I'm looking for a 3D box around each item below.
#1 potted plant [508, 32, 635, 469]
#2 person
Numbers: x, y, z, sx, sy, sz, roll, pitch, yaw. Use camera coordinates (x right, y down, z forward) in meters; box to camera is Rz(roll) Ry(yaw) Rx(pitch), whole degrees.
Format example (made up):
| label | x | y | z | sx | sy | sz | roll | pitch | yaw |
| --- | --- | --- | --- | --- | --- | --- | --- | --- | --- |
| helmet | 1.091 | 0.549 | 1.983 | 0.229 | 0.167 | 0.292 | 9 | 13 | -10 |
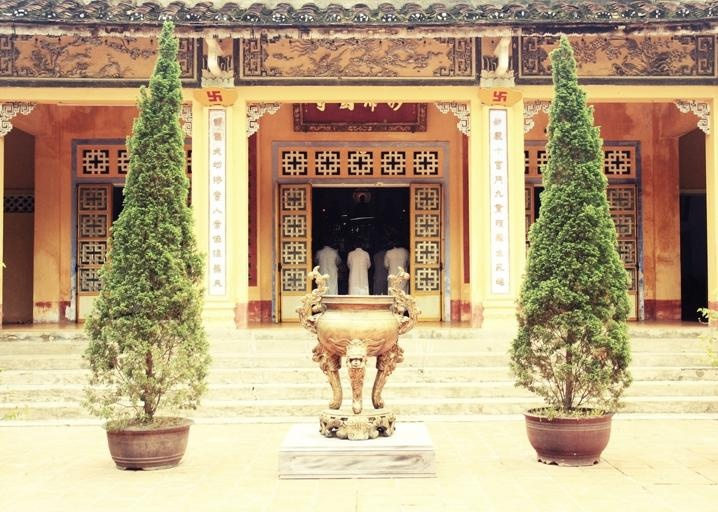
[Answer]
| label | x | y | z | sx | sy | sz | roll | pitch | yaw |
| --- | --- | --- | --- | --- | --- | --- | --- | --- | --- |
| potted plant | 2.176 | -0.087 | 11.552 | 1.172 | 2.999 | 0.486 | -1 | 0 | 12 |
| person | 0.048 | 0.175 | 17.582 | 1.118 | 0.670 | 0.296 | 1 | 1 | 10 |
